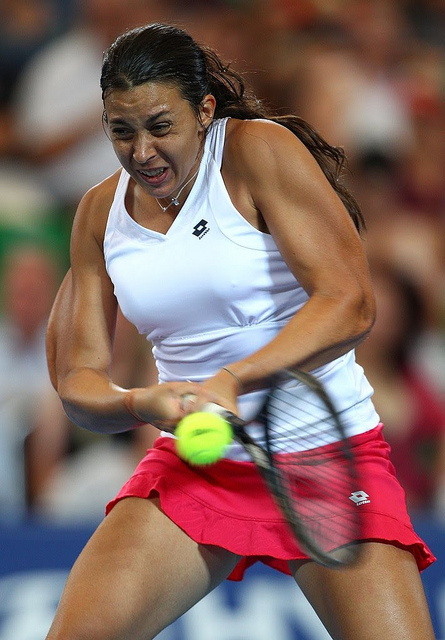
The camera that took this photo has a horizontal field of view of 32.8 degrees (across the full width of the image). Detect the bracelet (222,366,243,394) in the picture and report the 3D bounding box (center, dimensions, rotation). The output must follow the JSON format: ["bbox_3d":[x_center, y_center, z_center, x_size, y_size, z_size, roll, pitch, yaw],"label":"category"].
[{"bbox_3d":[0.024,0.115,1.394,0.011,0.046,0.045,-45,52,-6],"label":"bracelet"}]

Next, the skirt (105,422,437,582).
[{"bbox_3d":[0.110,0.350,1.469,0.576,0.342,0.309,-3,73,9],"label":"skirt"}]

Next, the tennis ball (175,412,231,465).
[{"bbox_3d":[-0.032,0.200,1.343,0.096,0.084,0.089,-2,12,0],"label":"tennis ball"}]

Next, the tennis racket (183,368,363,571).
[{"bbox_3d":[0.099,0.282,1.425,0.035,0.456,0.169,-32,42,37],"label":"tennis racket"}]
